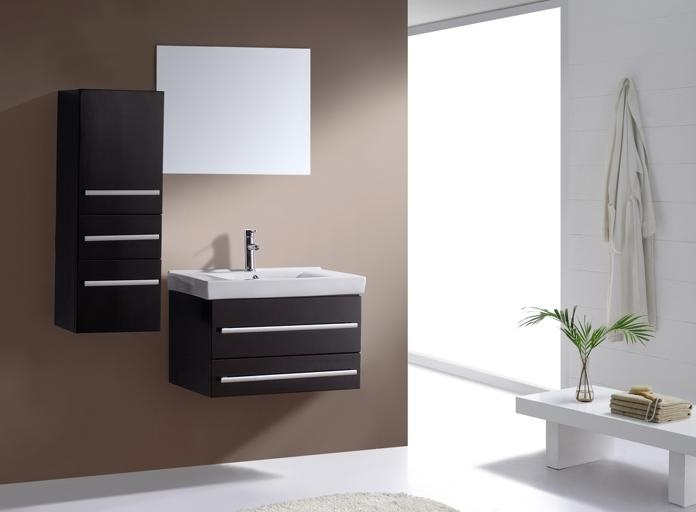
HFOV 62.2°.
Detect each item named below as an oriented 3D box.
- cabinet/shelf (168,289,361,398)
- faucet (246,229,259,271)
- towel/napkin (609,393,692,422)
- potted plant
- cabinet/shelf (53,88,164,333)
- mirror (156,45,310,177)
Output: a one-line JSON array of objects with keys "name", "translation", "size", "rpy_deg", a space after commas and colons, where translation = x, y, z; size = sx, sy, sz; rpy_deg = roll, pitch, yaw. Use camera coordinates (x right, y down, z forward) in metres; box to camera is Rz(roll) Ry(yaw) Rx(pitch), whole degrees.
[{"name": "cabinet/shelf", "translation": [-0.497, 0.321, 3.139], "size": [0.781, 0.466, 0.550], "rpy_deg": [0, -1, -27]}, {"name": "faucet", "translation": [-0.567, -0.031, 3.418], "size": [0.079, 0.249, 0.169], "rpy_deg": [0, 2, -9]}, {"name": "towel/napkin", "translation": [1.662, 0.825, 3.123], "size": [0.210, 0.079, 0.210], "rpy_deg": [4, 1, -34]}, {"name": "potted plant", "translation": [1.593, 0.517, 3.813], "size": [0.785, 0.553, 0.794], "rpy_deg": [1, -4, -13]}, {"name": "cabinet/shelf", "translation": [-1.255, -0.225, 2.920], "size": [0.604, 1.218, 0.258], "rpy_deg": [1, 3, 19]}, {"name": "mirror", "translation": [-0.714, -0.864, 3.396], "size": [0.835, 0.704, 0.036], "rpy_deg": [-1, 5, -13]}]
